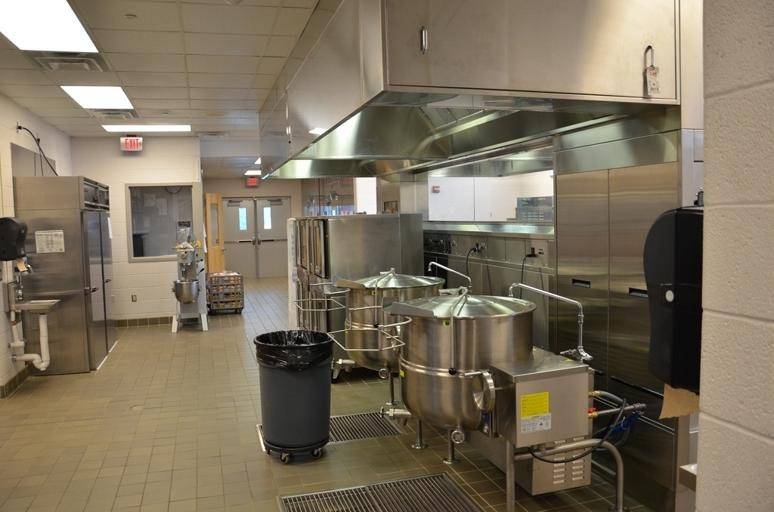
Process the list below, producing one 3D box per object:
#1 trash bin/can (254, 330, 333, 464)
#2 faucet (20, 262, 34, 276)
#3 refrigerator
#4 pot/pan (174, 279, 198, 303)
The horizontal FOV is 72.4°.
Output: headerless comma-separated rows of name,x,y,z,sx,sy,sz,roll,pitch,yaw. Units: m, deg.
trash bin/can,-0.781,1.152,4.533,0.606,0.973,0.615,-6,9,-24
faucet,-4.243,0.136,6.229,0.097,0.102,0.277,1,-2,-32
refrigerator,-4.190,0.192,6.927,0.793,2.475,1.125,-4,8,-14
pot/pan,-3.314,0.549,8.685,0.370,0.310,0.405,1,0,-1
